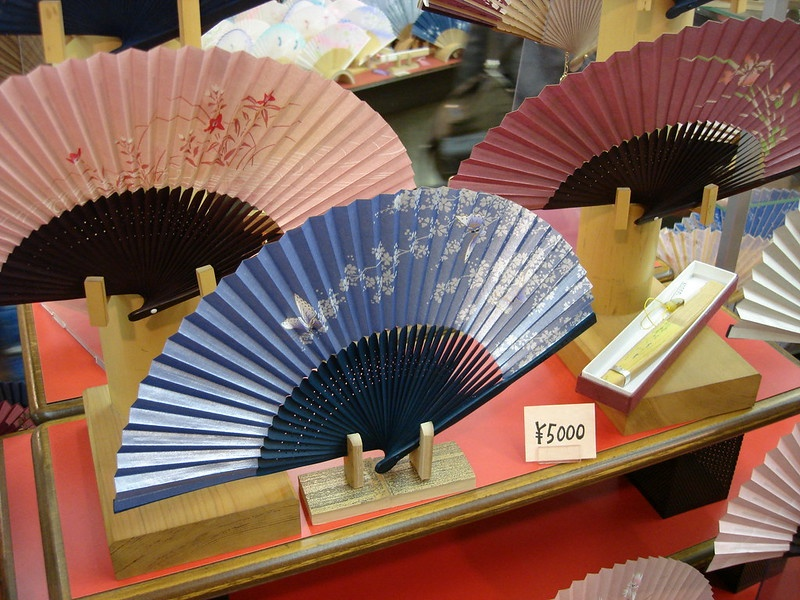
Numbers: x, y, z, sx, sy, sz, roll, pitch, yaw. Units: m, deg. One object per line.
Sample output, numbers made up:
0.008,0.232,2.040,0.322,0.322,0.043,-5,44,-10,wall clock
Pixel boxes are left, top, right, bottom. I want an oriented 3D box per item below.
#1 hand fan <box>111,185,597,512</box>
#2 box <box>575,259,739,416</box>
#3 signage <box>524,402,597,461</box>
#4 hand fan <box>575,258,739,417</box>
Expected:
-0.099,0.075,0.866,0.641,0.299,0.052,-24,17,-6,hand fan
0.595,0.058,1.196,0.185,0.107,0.682,21,48,30,box
0.305,0.252,1.012,0.128,0.091,0.010,-1,-17,-4,signage
0.645,0.060,1.249,0.182,0.110,0.693,30,51,34,hand fan
